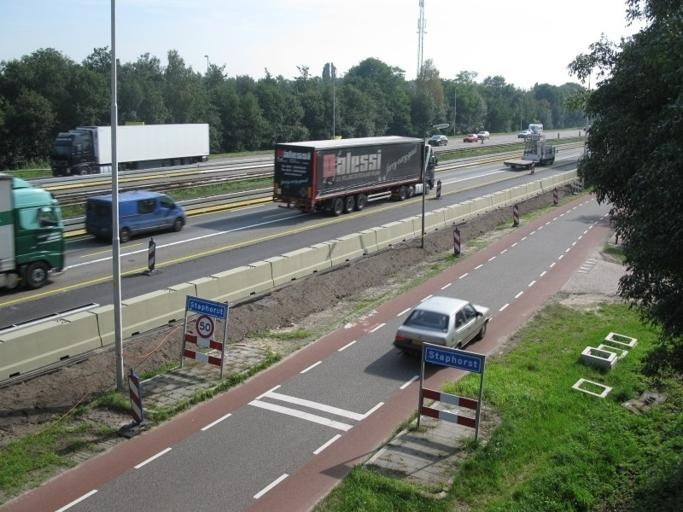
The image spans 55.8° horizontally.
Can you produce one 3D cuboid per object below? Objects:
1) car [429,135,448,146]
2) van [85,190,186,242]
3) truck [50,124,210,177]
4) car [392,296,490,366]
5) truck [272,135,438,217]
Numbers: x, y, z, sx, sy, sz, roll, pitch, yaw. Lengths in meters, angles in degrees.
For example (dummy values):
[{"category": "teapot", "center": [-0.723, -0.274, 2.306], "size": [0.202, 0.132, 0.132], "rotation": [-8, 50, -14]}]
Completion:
[{"category": "car", "center": [14.476, -17.476, 96.999], "size": [2.911, 1.502, 1.644], "rotation": [-6, 8, -42]}, {"category": "van", "center": [-10.827, -2.200, 33.948], "size": [2.384, 2.297, 4.575], "rotation": [12, 19, 39]}, {"category": "truck", "center": [-18.910, -9.976, 59.251], "size": [2.788, 4.244, 15.993], "rotation": [10, 16, 30]}, {"category": "car", "center": [3.365, 2.224, 20.948], "size": [1.454, 1.182, 2.939], "rotation": [11, 24, 35]}, {"category": "truck", "center": [1.786, -5.962, 45.599], "size": [3.540, 5.148, 14.065], "rotation": [14, 20, 42]}]
